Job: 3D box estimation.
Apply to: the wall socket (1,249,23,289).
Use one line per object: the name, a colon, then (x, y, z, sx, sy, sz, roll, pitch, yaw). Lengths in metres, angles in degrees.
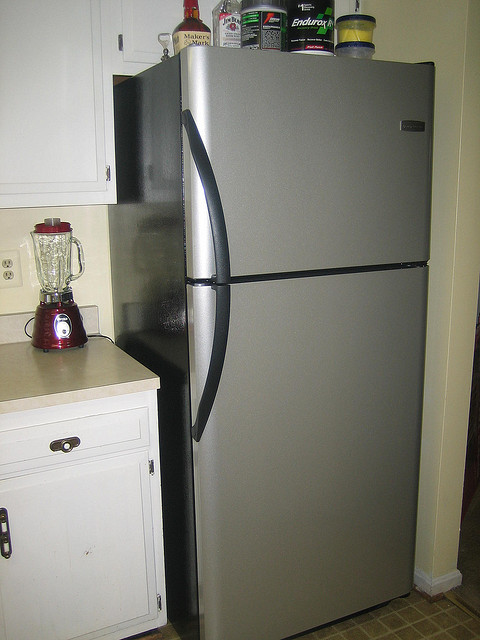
wall socket: (-0.728, -0.167, 1.859, 0.014, 0.152, 0.100, 10, 13, 43)

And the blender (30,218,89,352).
blender: (-0.546, -0.097, 1.798, 0.147, 0.479, 0.169, 2, 15, -11)

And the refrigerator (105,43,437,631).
refrigerator: (0.157, 0.127, 1.599, 0.816, 1.596, 0.400, -6, 16, -9)
